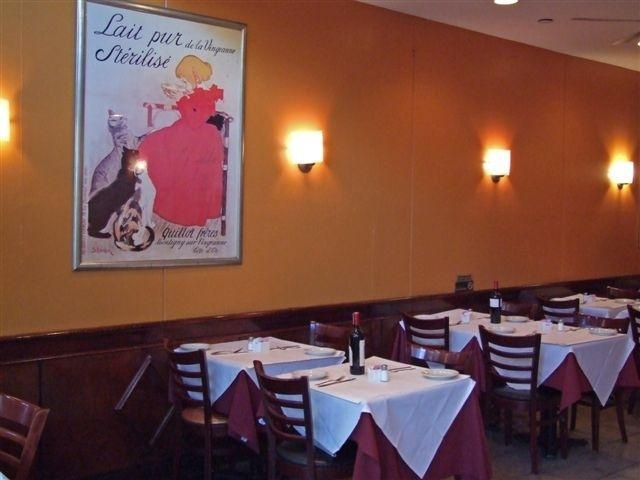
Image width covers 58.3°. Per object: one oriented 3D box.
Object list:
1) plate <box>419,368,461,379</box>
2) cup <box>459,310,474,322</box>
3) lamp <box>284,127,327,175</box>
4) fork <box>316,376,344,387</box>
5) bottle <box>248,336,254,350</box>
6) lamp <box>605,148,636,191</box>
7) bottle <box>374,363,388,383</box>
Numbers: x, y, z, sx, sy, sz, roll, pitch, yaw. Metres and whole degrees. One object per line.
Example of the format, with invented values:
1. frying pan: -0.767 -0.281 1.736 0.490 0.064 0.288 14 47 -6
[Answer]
1. plate: 0.836 0.923 3.967 0.244 0.041 0.206 0 3 12
2. cup: 1.484 0.777 5.813 0.078 0.138 0.131 2 3 1
3. lamp: -0.149 -0.846 5.474 0.321 0.436 0.181 -3 3 -42
4. fork: 0.072 0.946 3.810 0.214 0.033 0.056 -7 8 -38
5. bottle: -0.557 0.851 4.699 0.047 0.089 0.166 -1 3 -9
6. lamp: 4.440 -1.003 8.398 0.718 0.546 0.165 -2 3 -35
7. bottle: 0.425 0.908 3.896 0.097 0.111 0.070 -1 1 13
